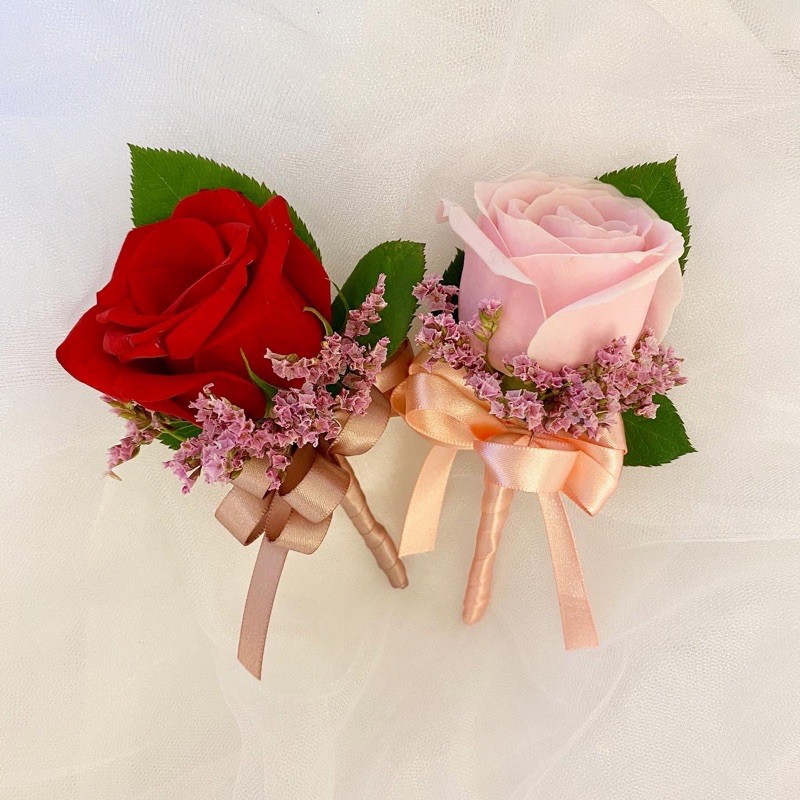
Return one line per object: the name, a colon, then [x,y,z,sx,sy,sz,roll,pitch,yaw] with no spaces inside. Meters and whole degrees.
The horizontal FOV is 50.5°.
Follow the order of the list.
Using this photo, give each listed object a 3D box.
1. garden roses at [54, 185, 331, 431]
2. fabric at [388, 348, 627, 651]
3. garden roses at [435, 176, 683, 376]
garden roses: [-0.179,-0.085,0.816,0.265,0.127,0.213,17,78,15]
fabric: [0.140,0.102,1.055,0.326,0.323,0.108,19,31,8]
garden roses: [0.166,-0.128,0.851,0.222,0.163,0.198,-4,39,4]
